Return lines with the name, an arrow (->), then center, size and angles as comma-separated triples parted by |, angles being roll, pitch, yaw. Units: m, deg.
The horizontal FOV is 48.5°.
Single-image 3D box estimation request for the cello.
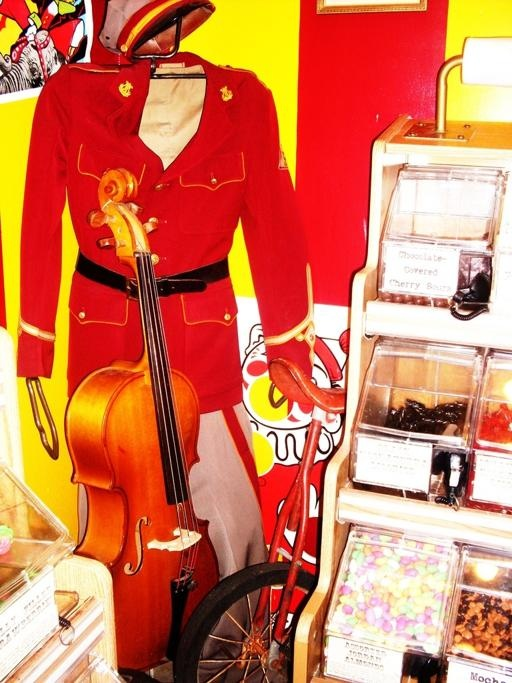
cello -> -0.295, 0.237, 1.553 | 0.265, 1.312, 0.447 | 5, 9, 39
